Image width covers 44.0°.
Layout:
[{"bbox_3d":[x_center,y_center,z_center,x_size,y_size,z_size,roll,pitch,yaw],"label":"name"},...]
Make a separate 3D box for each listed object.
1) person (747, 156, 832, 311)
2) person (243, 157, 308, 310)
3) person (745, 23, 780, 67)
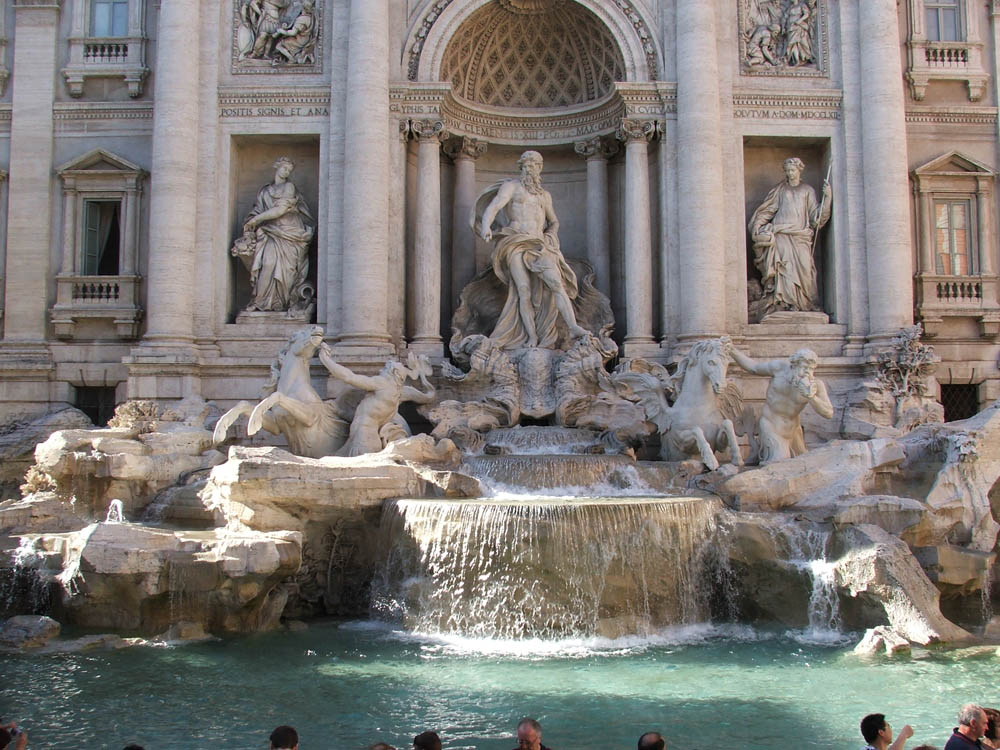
[{"bbox_3d":[6.008,-2.831,25.745,1.611,3.179,0.685,0,-3,12],"label":"person"},{"bbox_3d":[-4.546,-2.850,25.548,1.316,3.108,0.689,1,-3,-11],"label":"person"},{"bbox_3d":[5.504,-6.904,25.965,0.707,0.910,0.167,1,-3,-11],"label":"person"}]
